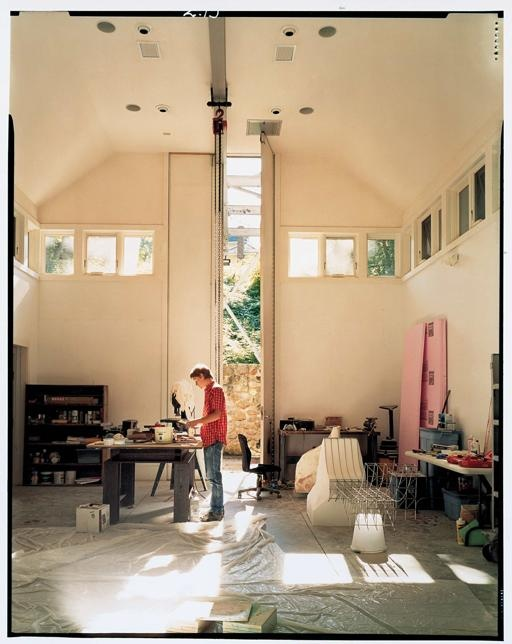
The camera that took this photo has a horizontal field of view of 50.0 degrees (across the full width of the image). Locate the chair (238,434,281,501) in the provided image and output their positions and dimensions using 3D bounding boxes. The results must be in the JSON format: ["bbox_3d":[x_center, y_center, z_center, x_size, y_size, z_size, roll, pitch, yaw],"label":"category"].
[{"bbox_3d":[0.047,1.925,7.289,0.554,0.794,0.551,-2,-11,3],"label":"chair"}]

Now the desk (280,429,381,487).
[{"bbox_3d":[1.107,2.113,8.728,1.460,0.803,0.615,0,-8,-2],"label":"desk"}]

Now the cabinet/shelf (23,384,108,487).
[{"bbox_3d":[-2.997,1.822,8.830,1.233,1.903,0.455,-1,10,9],"label":"cabinet/shelf"}]

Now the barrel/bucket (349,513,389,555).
[{"bbox_3d":[1.006,1.832,4.833,0.282,0.293,0.293,1,-5,0],"label":"barrel/bucket"}]

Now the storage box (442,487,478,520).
[{"bbox_3d":[2.284,2.012,6.104,0.258,0.256,0.382,0,-5,-7],"label":"storage box"}]

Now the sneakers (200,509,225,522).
[{"bbox_3d":[-0.449,2.080,5.877,0.283,0.131,0.098,3,-7,2],"label":"sneakers"}]

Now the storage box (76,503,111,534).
[{"bbox_3d":[-1.634,1.944,5.481,0.245,0.200,0.253,-1,-3,7],"label":"storage box"}]
